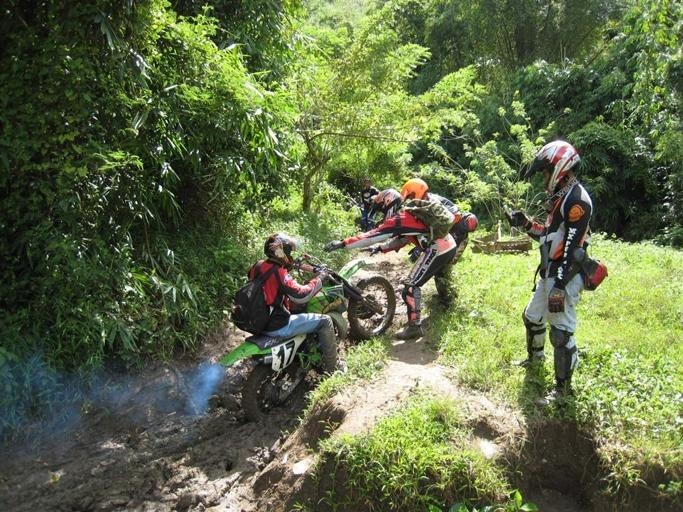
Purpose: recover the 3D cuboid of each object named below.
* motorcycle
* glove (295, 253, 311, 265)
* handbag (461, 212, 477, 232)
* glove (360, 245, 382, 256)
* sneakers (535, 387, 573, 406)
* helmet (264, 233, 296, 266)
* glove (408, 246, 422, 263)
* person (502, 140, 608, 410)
[{"bbox_3d":[-0.529,1.253,8.024,2.406,1.405,0.847,-43,32,-26],"label":"motorcycle"},{"bbox_3d":[-0.571,0.029,8.353,0.143,0.218,0.082,9,8,-8],"label":"glove"},{"bbox_3d":[2.160,-0.573,9.441,0.220,0.329,0.321,-1,4,15],"label":"handbag"},{"bbox_3d":[0.553,-0.109,10.775,0.357,0.119,0.267,-7,8,4],"label":"glove"},{"bbox_3d":[2.537,1.710,6.856,0.498,0.256,0.185,-5,18,13],"label":"sneakers"},{"bbox_3d":[-0.867,-0.083,7.903,0.478,0.430,0.379,20,-13,-3],"label":"helmet"},{"bbox_3d":[1.191,-0.038,9.200,0.158,0.204,0.214,39,-20,15],"label":"glove"},{"bbox_3d":[2.750,0.121,7.123,0.709,3.129,1.006,-2,9,-18],"label":"person"}]
